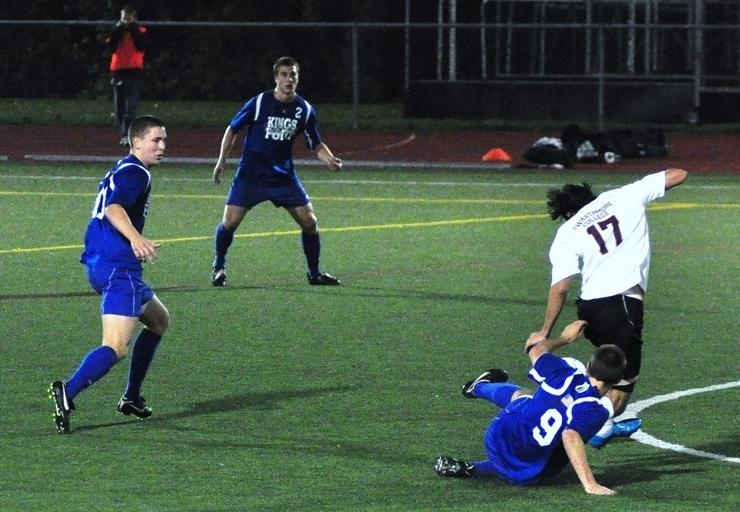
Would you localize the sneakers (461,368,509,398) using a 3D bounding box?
[{"bbox_3d":[1.255,1.298,16.207,0.588,0.222,0.219,-20,-4,18],"label":"sneakers"}]

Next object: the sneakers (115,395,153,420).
[{"bbox_3d":[-2.431,1.581,16.199,0.444,0.201,0.158,10,20,-24],"label":"sneakers"}]

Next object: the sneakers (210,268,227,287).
[{"bbox_3d":[-1.874,0.279,19.928,0.245,0.206,0.170,7,10,-19],"label":"sneakers"}]

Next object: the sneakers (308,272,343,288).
[{"bbox_3d":[-0.544,0.311,20.026,0.459,0.176,0.155,-2,11,1],"label":"sneakers"}]

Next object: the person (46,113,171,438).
[{"bbox_3d":[-2.612,0.174,16.143,1.082,3.243,0.941,3,6,-2],"label":"person"}]

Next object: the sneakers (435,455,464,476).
[{"bbox_3d":[0.796,2.066,15.326,0.280,0.142,0.109,9,0,0],"label":"sneakers"}]
